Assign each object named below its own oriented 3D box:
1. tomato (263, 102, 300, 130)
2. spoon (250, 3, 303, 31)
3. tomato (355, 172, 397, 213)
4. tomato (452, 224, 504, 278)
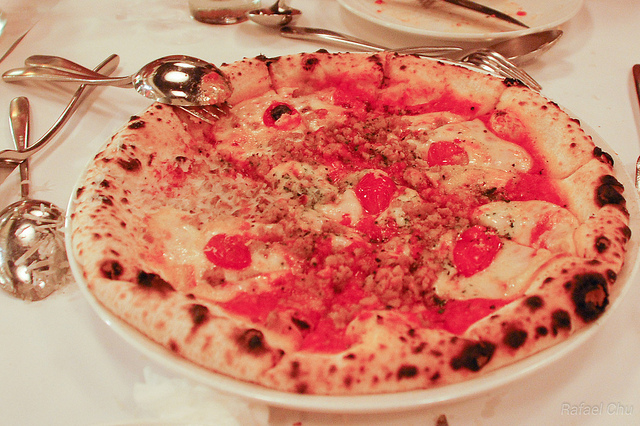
[{"bbox_3d":[-0.195,-0.513,3.278,0.201,0.092,0.160,14,82,3],"label":"tomato"},{"bbox_3d":[-0.265,-1.235,3.909,0.182,0.078,0.302,8,43,2],"label":"spoon"},{"bbox_3d":[0.260,-0.099,2.948,0.174,0.062,0.193,25,83,5],"label":"tomato"},{"bbox_3d":[0.688,0.175,2.778,0.174,0.068,0.246,41,84,6],"label":"tomato"}]
